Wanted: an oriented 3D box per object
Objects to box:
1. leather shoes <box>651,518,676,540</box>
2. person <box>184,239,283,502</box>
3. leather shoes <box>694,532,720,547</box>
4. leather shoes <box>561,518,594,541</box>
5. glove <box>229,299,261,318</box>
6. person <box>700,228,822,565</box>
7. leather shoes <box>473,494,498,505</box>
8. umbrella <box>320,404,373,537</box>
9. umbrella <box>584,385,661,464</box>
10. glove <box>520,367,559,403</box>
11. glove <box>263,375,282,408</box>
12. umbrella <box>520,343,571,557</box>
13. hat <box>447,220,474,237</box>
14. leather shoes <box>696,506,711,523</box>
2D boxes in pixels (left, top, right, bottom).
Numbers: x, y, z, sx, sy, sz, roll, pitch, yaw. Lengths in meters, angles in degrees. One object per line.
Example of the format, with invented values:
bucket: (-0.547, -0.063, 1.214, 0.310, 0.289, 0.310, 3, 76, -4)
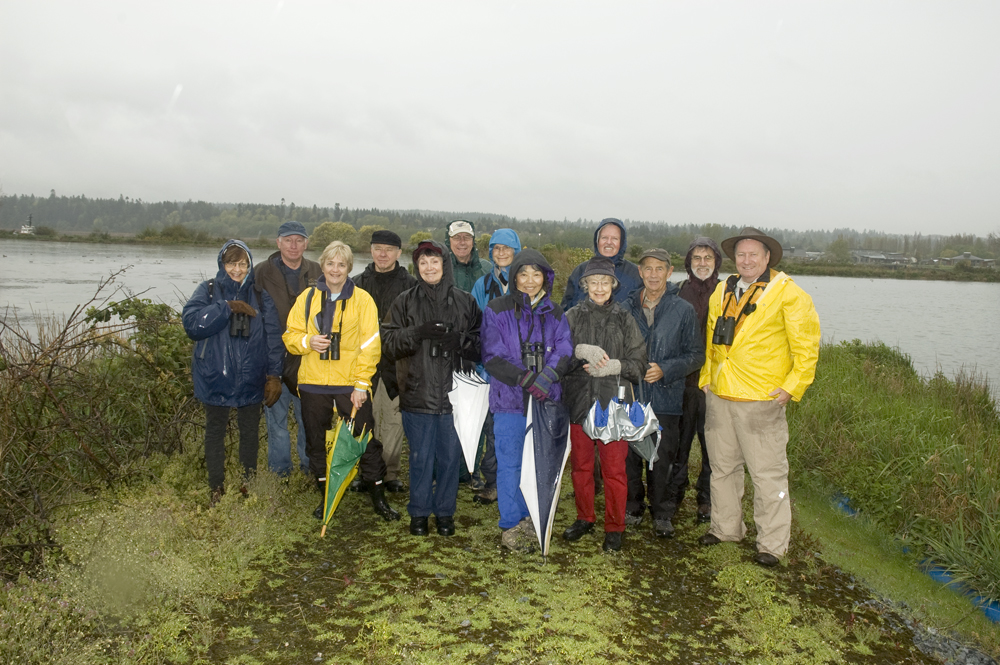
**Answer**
leather shoes: (2.145, 2.541, 10.170, 0.282, 0.201, 0.300, 3, 9, 12)
person: (-3.426, 0.461, 9.992, 1.157, 3.230, 0.639, -3, 9, -21)
leather shoes: (2.658, 2.647, 9.949, 0.236, 0.114, 0.131, 6, 19, -15)
leather shoes: (1.007, 2.551, 10.032, 0.492, 0.217, 0.178, -2, -1, -43)
glove: (-3.246, -0.295, 9.897, 0.156, 0.224, 0.394, 9, 12, 42)
person: (3.188, 0.770, 9.736, 1.377, 4.047, 0.958, 5, 9, 25)
leather shoes: (-0.198, 2.351, 10.946, 0.270, 0.086, 0.257, 3, -4, -42)
umbrella: (-2.054, 1.812, 9.970, 0.614, 1.470, 0.935, 2, 9, 12)
umbrella: (1.486, 1.138, 9.663, 0.906, 1.011, 0.543, 0, 7, 12)
glove: (0.501, 0.630, 9.550, 0.391, 0.419, 0.172, 9, 4, -1)
glove: (-3.006, 0.758, 10.225, 0.248, 0.350, 0.101, 6, -15, -30)
umbrella: (0.498, 1.700, 9.590, 0.508, 1.820, 0.654, 4, 9, 22)
hat: (-0.589, -1.577, 11.770, 0.404, 0.227, 0.347, 0, 9, -4)
leather shoes: (2.762, 2.484, 10.582, 0.145, 0.197, 0.073, -16, -39, 37)
